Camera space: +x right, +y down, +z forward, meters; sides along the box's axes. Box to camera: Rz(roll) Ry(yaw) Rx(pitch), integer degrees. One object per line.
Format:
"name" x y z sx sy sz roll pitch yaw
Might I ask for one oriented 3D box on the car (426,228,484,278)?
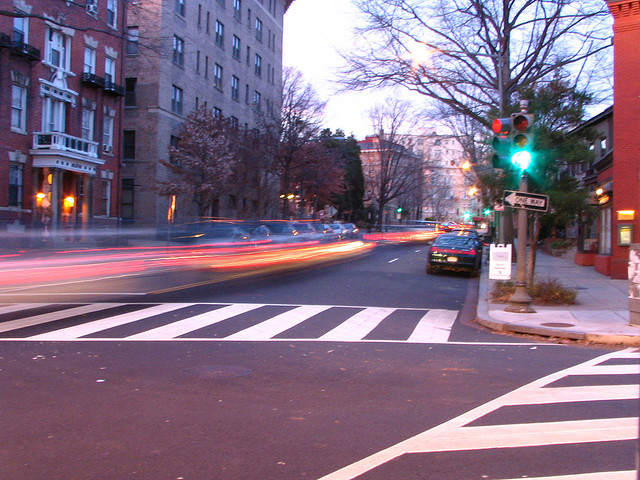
"car" 5.437 0.667 24.591 2.116 1.610 1.866 3 5 8

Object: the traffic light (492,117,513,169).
"traffic light" 4.137 -2.212 13.715 0.500 1.111 0.492 4 7 12

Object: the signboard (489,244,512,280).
"signboard" 4.773 0.596 16.070 0.556 0.892 0.533 4 6 10

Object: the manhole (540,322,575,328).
"manhole" 4.977 1.771 12.732 0.644 0.028 0.601 1 4 4
